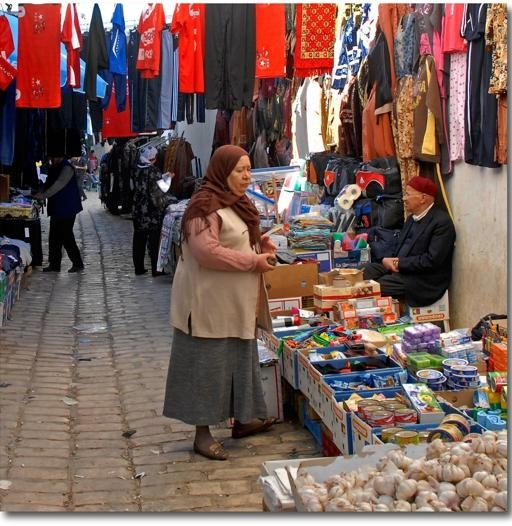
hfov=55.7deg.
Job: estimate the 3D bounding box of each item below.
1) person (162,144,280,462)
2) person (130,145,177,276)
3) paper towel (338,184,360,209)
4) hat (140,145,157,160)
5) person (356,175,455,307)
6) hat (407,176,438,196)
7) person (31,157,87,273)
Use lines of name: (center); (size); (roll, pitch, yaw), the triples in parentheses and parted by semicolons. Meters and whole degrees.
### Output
person: (-0.156, 0.246, 3.107); (0.701, 1.915, 0.719); (-2, 9, -6)
person: (-1.828, -0.964, 8.824); (0.750, 2.293, 0.696); (0, 1, 38)
paper towel: (1.182, -0.841, 6.185); (0.226, 0.346, 0.103); (35, 8, -3)
hat: (-1.861, -1.920, 8.600); (0.267, 0.261, 0.334); (-2, 7, -14)
person: (1.652, -0.140, 5.379); (0.660, 1.758, 0.730); (-3, 9, -14)
hat: (1.765, -0.819, 5.181); (0.256, 0.105, 0.190); (33, 18, 29)
person: (-3.483, -0.932, 8.841); (0.710, 2.290, 0.852); (-6, 16, -33)
